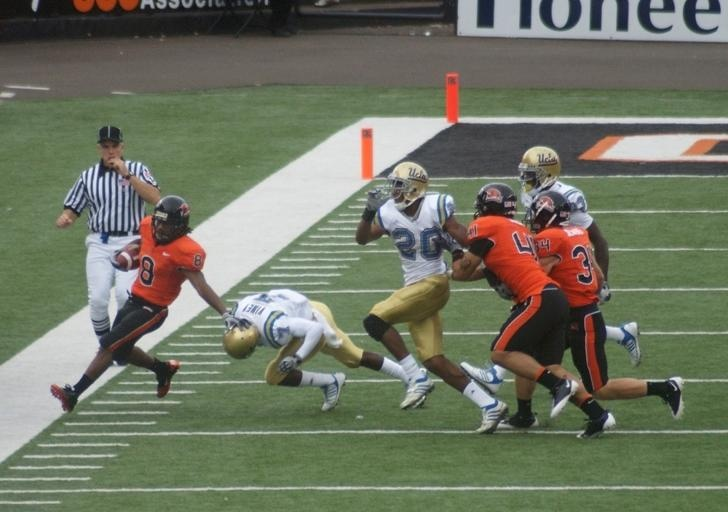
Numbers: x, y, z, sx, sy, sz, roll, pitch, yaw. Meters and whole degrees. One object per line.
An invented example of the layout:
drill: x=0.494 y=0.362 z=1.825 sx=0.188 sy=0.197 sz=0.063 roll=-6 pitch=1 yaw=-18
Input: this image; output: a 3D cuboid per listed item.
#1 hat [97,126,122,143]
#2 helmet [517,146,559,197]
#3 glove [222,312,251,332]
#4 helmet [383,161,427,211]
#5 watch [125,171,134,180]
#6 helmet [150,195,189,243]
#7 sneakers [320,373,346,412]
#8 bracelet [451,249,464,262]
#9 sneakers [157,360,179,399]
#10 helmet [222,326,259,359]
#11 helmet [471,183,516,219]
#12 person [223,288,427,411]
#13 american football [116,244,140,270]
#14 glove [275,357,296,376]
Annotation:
hat: x=-3.248 y=-1.556 z=22.118 sx=0.268 sy=0.148 sz=0.321 roll=-2 pitch=11 yaw=-7
helmet: x=2.195 y=-1.093 z=21.564 sx=0.618 sy=0.498 sz=0.438 roll=-7 pitch=10 yaw=-11
glove: x=-1.508 y=0.779 z=20.608 sx=0.328 sy=0.177 sz=0.164 roll=14 pitch=0 yaw=27
helmet: x=0.530 y=-0.870 z=21.126 sx=0.575 sy=0.526 sz=0.490 roll=4 pitch=4 yaw=14
watch: x=-2.976 y=-1.019 z=21.937 sx=0.055 sy=0.100 sz=0.113 roll=2 pitch=1 yaw=39
helmet: x=-2.373 y=-0.489 z=21.110 sx=0.451 sy=0.488 sz=0.546 roll=10 pitch=26 yaw=14
sneakers: x=-0.375 y=1.633 z=21.112 sx=0.327 sy=0.520 sz=0.207 roll=10 pitch=15 yaw=-23
bracelet: x=1.116 y=-0.021 z=20.798 sx=0.085 sy=0.106 sz=0.108 roll=-40 pitch=25 yaw=-6
sneakers: x=-2.473 y=1.510 z=21.479 sx=0.251 sy=0.494 sz=0.201 roll=7 pitch=21 yaw=-35
helmet: x=-1.463 y=1.043 z=20.476 sx=0.371 sy=0.378 sz=0.395 roll=9 pitch=23 yaw=21
helmet: x=1.600 y=-0.681 z=20.827 sx=0.602 sy=0.411 sz=0.460 roll=0 pitch=1 yaw=44
person: x=-0.495 y=1.200 z=20.986 sx=2.455 sy=1.360 sz=1.182 roll=-5 pitch=-6 yaw=-22
american football: x=-2.925 y=0.009 z=21.496 sx=0.333 sy=0.248 sz=0.147 roll=-48 pitch=16 yaw=-20
glove: x=-0.913 y=1.281 z=20.571 sx=0.264 sy=0.176 sz=0.116 roll=-28 pitch=-7 yaw=5
